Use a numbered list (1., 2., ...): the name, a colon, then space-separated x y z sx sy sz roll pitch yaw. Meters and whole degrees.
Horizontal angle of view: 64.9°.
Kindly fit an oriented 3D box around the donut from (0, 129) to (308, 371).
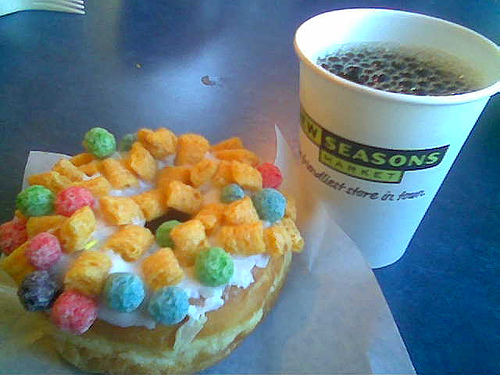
1. donut: -0.196 0.119 0.788 0.531 0.188 0.535 2 42 -6

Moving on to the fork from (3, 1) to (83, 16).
1. fork: -0.640 -0.559 1.220 0.236 0.036 0.048 0 42 -5

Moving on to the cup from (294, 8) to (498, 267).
1. cup: 0.242 -0.161 1.026 0.520 0.523 0.527 0 32 0
